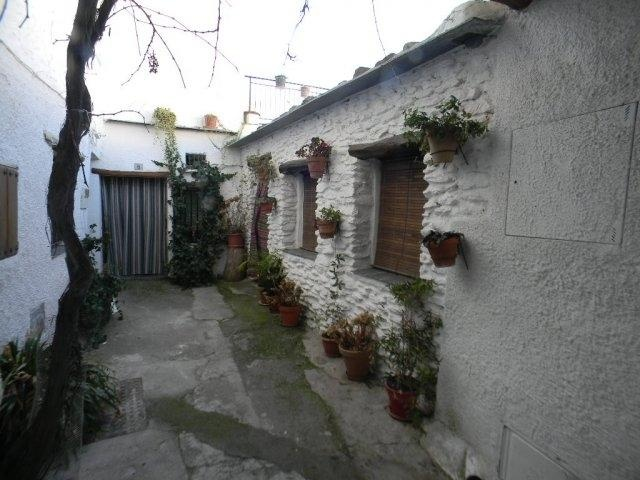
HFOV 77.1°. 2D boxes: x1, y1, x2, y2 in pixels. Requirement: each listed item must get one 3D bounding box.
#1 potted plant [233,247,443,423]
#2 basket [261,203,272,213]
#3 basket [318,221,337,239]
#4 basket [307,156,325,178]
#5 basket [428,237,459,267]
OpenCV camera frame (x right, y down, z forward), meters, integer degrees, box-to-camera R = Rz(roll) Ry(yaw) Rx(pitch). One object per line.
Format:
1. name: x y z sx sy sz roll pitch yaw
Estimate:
1. potted plant: 0.099 0.827 5.195 0.773 1.419 3.702 -1 11 -24
2. basket: -0.941 -0.574 7.027 0.173 0.179 0.177 -1 8 -17
3. basket: 0.082 -0.153 5.028 0.207 0.167 0.208 -6 14 -31
4. basket: -0.061 -0.963 5.305 0.222 0.207 0.227 2 4 37
5. basket: 1.011 0.100 3.326 0.241 0.254 0.066 2 12 2
